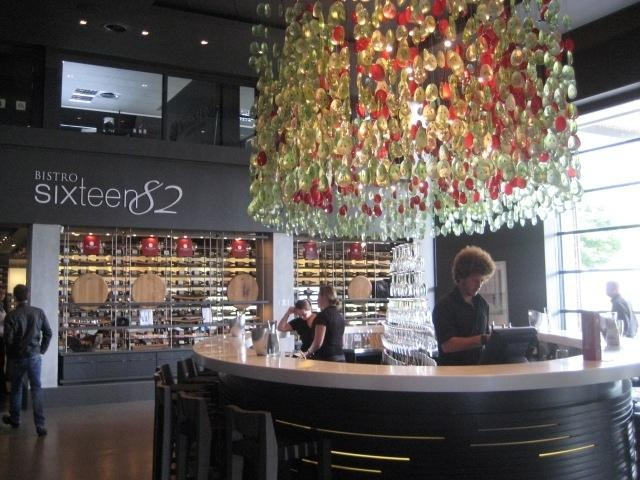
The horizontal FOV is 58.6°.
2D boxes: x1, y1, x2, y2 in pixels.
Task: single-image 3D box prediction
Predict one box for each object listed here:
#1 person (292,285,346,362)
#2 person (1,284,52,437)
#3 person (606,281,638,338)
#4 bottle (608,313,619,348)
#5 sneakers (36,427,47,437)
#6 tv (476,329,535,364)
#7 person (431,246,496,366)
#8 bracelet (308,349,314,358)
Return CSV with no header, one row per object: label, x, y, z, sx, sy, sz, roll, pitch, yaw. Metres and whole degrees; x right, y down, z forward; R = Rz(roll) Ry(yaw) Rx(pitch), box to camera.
person,0.042,0.961,6.601,0.495,0.849,0.478,1,-4,-12
person,-3.854,1.539,7.520,0.692,1.891,0.550,0,-4,-3
person,4.349,1.004,8.225,0.376,0.820,0.961,-3,-5,28
bottle,2.694,0.848,5.228,0.103,0.250,0.300,-2,-5,26
sneakers,-3.533,2.412,7.218,0.104,0.118,0.114,4,-6,-7
tv,1.510,0.836,4.538,0.489,0.277,0.148,1,-4,-15
person,1.304,0.584,5.115,0.571,1.048,0.521,-1,-4,4
bracelet,-0.114,1.319,6.573,0.090,0.098,0.106,-3,4,-12
